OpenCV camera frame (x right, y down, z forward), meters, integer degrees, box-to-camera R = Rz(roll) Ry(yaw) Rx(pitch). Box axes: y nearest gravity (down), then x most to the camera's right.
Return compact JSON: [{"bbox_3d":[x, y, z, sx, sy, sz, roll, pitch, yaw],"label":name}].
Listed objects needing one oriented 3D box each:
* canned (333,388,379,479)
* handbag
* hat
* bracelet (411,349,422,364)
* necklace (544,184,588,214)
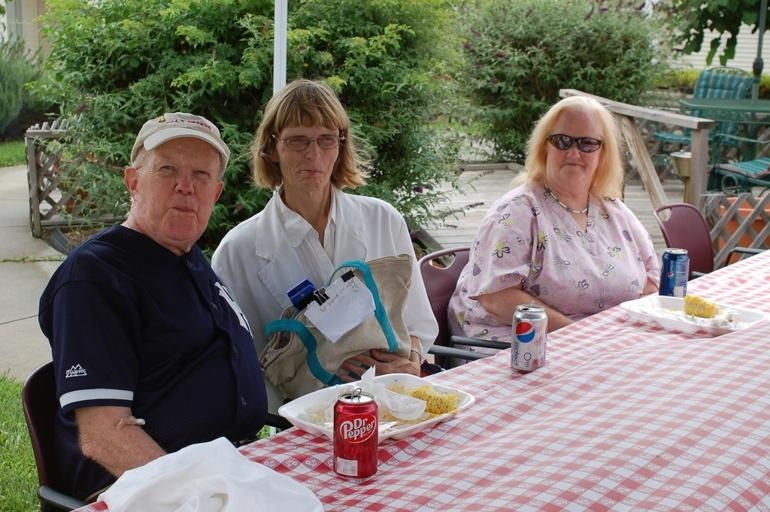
[{"bbox_3d":[-0.094,0.554,2.115,0.141,0.279,0.094,-1,14,-4],"label":"canned"},{"bbox_3d":[-0.129,0.318,2.966,0.690,0.563,0.296,-28,-20,10],"label":"handbag"},{"bbox_3d":[-0.802,-0.449,2.616,0.255,0.135,0.295,7,-8,-20],"label":"hat"},{"bbox_3d":[0.142,0.461,3.116,0.066,0.026,0.049,38,1,12],"label":"bracelet"},{"bbox_3d":[0.987,-0.294,3.736,0.176,0.040,0.172,36,28,23],"label":"necklace"}]
